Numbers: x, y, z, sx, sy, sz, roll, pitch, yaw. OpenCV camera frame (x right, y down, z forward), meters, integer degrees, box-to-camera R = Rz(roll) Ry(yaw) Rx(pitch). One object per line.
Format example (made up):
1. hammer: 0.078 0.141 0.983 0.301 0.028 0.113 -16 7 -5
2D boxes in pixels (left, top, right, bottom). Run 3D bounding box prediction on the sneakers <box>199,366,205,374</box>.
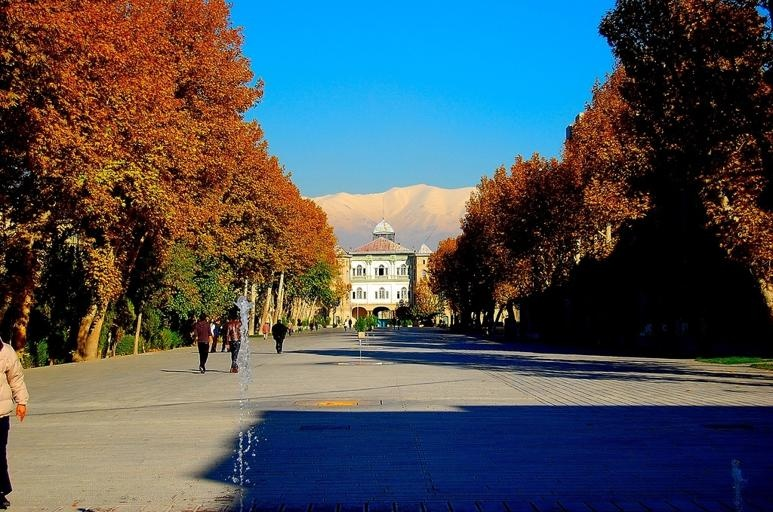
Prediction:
1. sneakers: -7.741 4.750 25.486 0.203 0.284 0.635 -1 -16 -9
